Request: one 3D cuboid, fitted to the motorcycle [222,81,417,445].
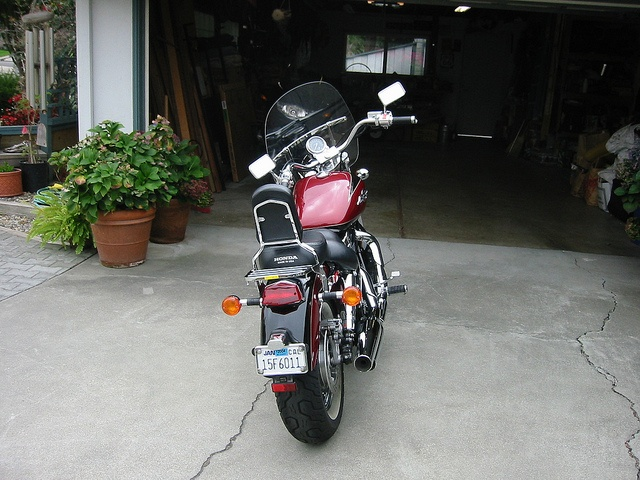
[{"bbox_3d":[-0.007,0.080,2.879,0.944,1.955,1.503,5,18,7],"label":"motorcycle"}]
